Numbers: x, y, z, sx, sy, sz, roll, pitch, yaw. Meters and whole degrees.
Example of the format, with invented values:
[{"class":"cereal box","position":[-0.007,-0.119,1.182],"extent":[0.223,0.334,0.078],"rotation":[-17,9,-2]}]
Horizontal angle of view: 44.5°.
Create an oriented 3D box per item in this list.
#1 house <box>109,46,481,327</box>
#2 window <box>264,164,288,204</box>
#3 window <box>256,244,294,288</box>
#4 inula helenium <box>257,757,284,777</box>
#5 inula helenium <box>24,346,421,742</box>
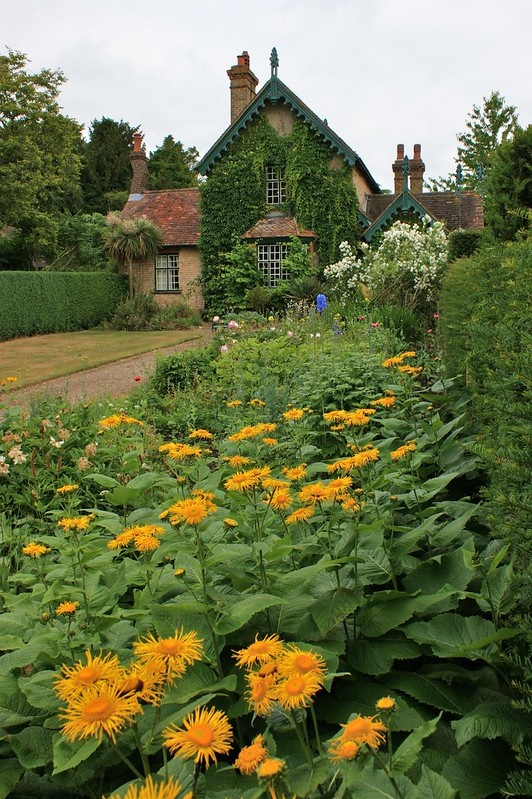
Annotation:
[{"class":"house","position":[0.364,-4.630,17.444],"extent":[10.625,7.286,5.183],"rotation":[0,3,18]},{"class":"window","position":[0.277,-6.367,19.490],"extent":[0.611,1.190,0.263],"rotation":[0,6,27]},{"class":"window","position":[0.194,-4.024,19.483],"extent":[0.987,1.277,0.448],"rotation":[-1,6,20]},{"class":"inula helenium","position":[0.004,0.470,0.843],"extent":[0.022,0.012,0.022],"rotation":[-31,-19,37]},{"class":"inula helenium","position":[-0.142,0.450,2.427],"extent":[1.450,1.045,1.463],"rotation":[0,0,44]}]
